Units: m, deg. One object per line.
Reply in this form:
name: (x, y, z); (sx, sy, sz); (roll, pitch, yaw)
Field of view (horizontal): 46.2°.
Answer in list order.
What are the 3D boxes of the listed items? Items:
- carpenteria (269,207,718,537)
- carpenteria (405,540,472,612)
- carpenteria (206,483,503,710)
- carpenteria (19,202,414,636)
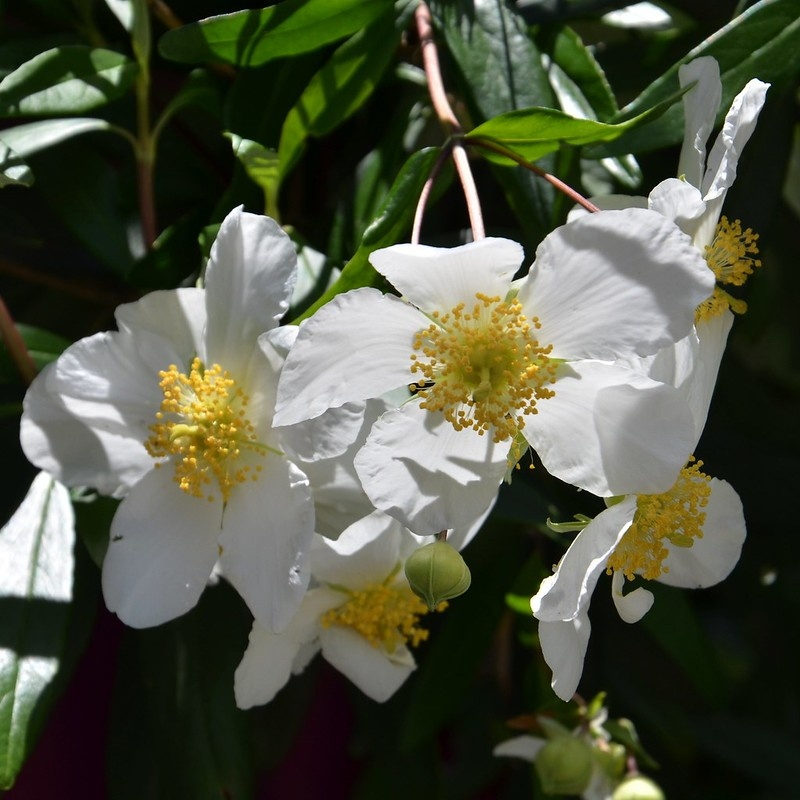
carpenteria: (0.062, -0.017, 0.666); (0.312, 0.179, 0.127); (-7, 45, 2)
carpenteria: (0.029, 0.129, 0.704); (0.048, 0.051, 0.063); (8, 75, -6)
carpenteria: (-0.028, 0.180, 0.818); (0.177, 0.056, 0.153); (1, 79, -31)
carpenteria: (-0.144, 0.011, 0.791); (0.270, 0.113, 0.336); (22, 89, 10)
